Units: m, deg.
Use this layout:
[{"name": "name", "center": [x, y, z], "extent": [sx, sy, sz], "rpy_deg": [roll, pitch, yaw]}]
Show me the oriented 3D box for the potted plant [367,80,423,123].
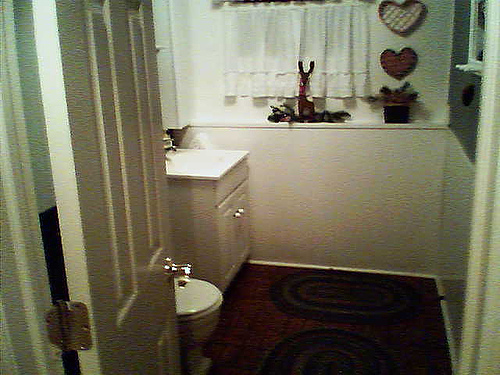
[{"name": "potted plant", "center": [0.246, -0.135, 0.872], "extent": [0.090, 0.053, 0.100], "rpy_deg": [9, 32, 26]}]
